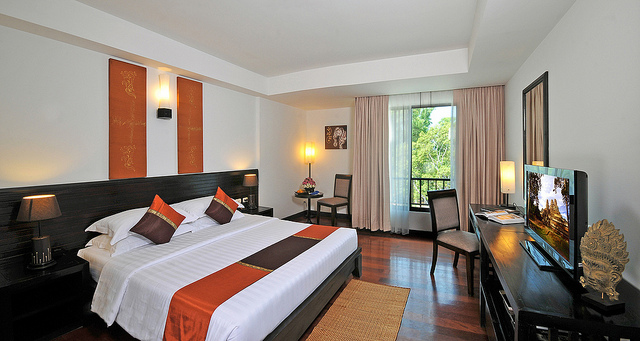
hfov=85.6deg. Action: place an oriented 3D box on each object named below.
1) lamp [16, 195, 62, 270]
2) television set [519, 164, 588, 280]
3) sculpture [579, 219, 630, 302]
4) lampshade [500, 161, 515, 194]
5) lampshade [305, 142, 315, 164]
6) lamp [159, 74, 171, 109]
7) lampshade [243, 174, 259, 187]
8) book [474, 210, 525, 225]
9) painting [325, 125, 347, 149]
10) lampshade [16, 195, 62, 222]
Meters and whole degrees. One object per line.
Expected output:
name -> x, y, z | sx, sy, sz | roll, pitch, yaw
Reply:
lamp -> -3.952, 0.847, 4.979 | 0.568, 0.999, 0.549 | 1, 3, 27
television set -> 2.839, 0.610, 4.330 | 0.451, 1.294, 0.816 | -3, 5, -22
sculpture -> 3.115, 0.993, 3.879 | 0.211, 0.880, 0.553 | -7, 8, -9
lampshade -> 3.237, 0.125, 6.015 | 0.273, 0.559, 0.251 | -10, 5, -19
lampshade -> -0.253, -0.456, 8.892 | 0.257, 0.536, 0.192 | -2, 5, -3
lamp -> -2.690, -1.361, 5.988 | 0.176, 0.586, 0.105 | -3, 5, -23
lampshade -> -1.420, 0.218, 7.076 | 0.265, 0.210, 0.244 | 0, 3, -5
book -> 2.779, 0.737, 5.385 | 0.547, 0.107, 0.623 | -2, 4, -11
painting -> 0.428, -0.833, 8.693 | 0.706, 0.587, 0.068 | 0, -2, 26
lampshade -> -3.888, 0.534, 4.792 | 0.454, 0.339, 0.204 | -4, 5, -38
